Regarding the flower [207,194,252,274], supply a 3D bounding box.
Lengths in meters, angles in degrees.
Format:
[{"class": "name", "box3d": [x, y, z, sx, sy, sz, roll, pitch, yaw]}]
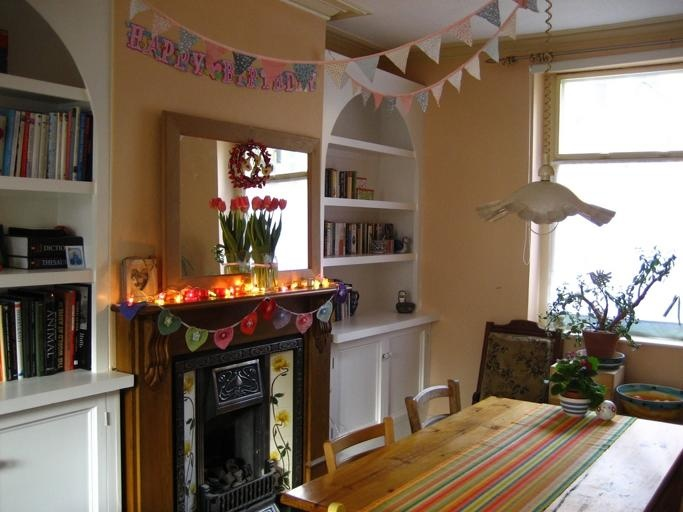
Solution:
[{"class": "flower", "box3d": [-0.713, -0.108, 3.286, 0.210, 0.504, 0.285, -13, 0, 25]}]

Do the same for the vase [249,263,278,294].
[{"class": "vase", "box3d": [-0.505, 0.142, 3.368, 0.154, 0.188, 0.166, 0, 0, 0]}]

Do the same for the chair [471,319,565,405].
[{"class": "chair", "box3d": [1.514, 0.862, 4.637, 0.604, 1.138, 0.719, 2, -3, 28]}]

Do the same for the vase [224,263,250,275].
[{"class": "vase", "box3d": [-0.669, 0.082, 3.298, 0.086, 0.057, 0.089, 2, 0, -22]}]

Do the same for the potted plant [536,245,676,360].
[{"class": "potted plant", "box3d": [2.101, 0.329, 4.108, 0.921, 0.727, 0.754, -2, 0, 13]}]

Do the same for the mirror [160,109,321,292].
[{"class": "mirror", "box3d": [-0.576, -0.325, 3.284, 0.973, 1.003, 0.070, 1, -6, -25]}]

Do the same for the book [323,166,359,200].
[{"class": "book", "box3d": [-0.001, -0.566, 4.213, 0.220, 0.313, 0.306, 2, 4, 27]}]

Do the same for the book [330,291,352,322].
[{"class": "book", "box3d": [0.000, 0.442, 4.270, 0.196, 0.307, 0.302, 0, 0, 11]}]

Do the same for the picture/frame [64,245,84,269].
[{"class": "picture/frame", "box3d": [-1.430, 0.008, 2.758, 0.014, 0.159, 0.108, -8, -2, 37]}]

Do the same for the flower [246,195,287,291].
[{"class": "flower", "box3d": [-0.470, -0.079, 3.434, 0.266, 0.678, 0.252, -3, -3, 23]}]

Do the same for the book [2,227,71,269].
[{"class": "book", "box3d": [-1.611, -0.041, 2.746, 0.235, 0.164, 0.236, 1, 3, 37]}]

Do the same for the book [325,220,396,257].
[{"class": "book", "box3d": [0.191, -0.152, 4.484, 0.160, 0.318, 0.954, 9, 13, 41]}]

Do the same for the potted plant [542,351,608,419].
[{"class": "potted plant", "box3d": [1.299, 0.677, 2.938, 0.312, 0.342, 0.316, -3, 2, -36]}]
